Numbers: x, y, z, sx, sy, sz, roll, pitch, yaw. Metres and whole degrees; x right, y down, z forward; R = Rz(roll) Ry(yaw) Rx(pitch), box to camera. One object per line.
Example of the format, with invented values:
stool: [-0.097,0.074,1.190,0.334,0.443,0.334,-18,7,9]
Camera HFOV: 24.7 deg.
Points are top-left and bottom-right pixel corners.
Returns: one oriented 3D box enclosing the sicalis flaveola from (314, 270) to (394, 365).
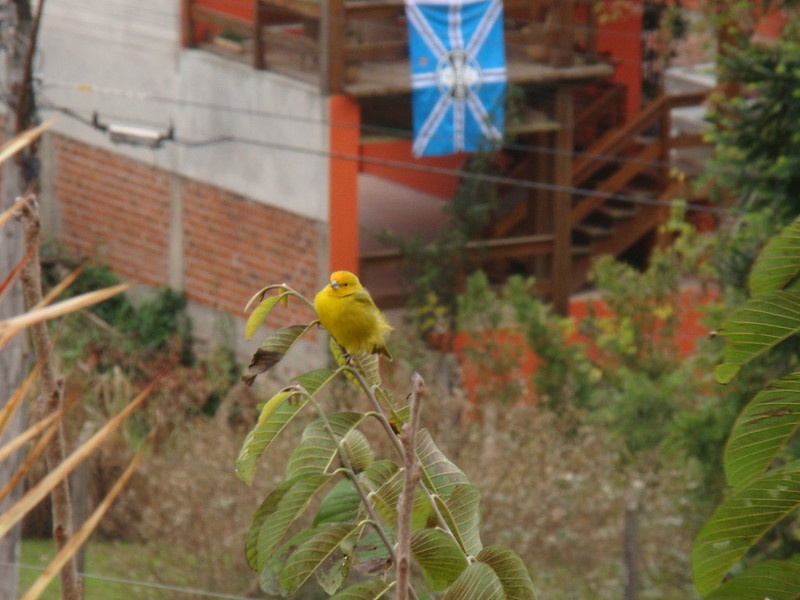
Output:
sicalis flaveola: [-0.239,0.106,11.461,0.390,0.544,0.666,7,1,38]
